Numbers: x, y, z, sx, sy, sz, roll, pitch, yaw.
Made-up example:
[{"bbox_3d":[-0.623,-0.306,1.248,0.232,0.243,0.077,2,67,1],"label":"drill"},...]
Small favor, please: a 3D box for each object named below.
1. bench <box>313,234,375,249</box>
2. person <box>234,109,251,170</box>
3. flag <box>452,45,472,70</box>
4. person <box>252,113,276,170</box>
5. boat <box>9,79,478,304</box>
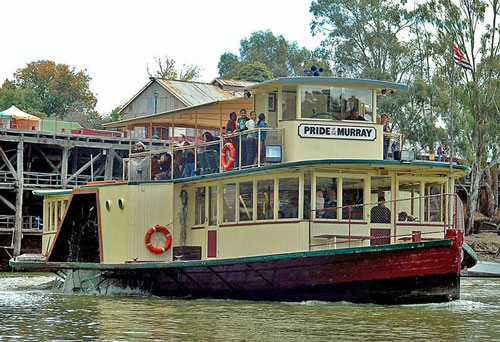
[{"bbox_3d":[3.457,2.741,35.972,2.235,0.534,0.439,-1,9,-4],"label":"bench"},{"bbox_3d":[-0.138,-1.247,38.184,0.540,2.346,0.614,-6,5,-27],"label":"person"},{"bbox_3d":[8.914,-4.783,39.621,0.106,0.954,1.023,-22,30,-28],"label":"flag"},{"bbox_3d":[0.569,-1.243,37.175,0.585,2.055,0.625,-2,12,4],"label":"person"},{"bbox_3d":[-1.214,1.504,42.754,22.848,9.252,10.690,-7,-10,41],"label":"boat"}]
